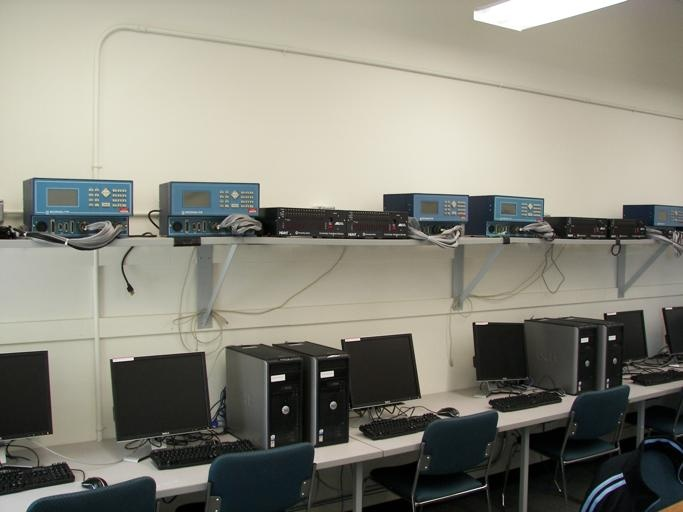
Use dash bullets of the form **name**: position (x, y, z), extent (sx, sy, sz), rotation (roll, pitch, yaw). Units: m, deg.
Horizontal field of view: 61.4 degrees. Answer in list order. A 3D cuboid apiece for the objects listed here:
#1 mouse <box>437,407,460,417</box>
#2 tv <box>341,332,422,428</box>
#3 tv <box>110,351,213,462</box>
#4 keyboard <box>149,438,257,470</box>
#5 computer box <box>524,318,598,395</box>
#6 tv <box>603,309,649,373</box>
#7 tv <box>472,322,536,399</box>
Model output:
- **mouse**: position (0.663, 0.971, 3.587), extent (0.087, 0.030, 0.057), rotation (0, 5, 3)
- **tv**: position (0.232, 0.772, 3.514), extent (0.475, 0.485, 0.166), rotation (1, -23, -30)
- **tv**: position (-0.970, 0.812, 3.055), extent (0.463, 0.463, 0.192), rotation (0, -16, -26)
- **keyboard**: position (-0.708, 1.007, 2.973), extent (0.515, 0.058, 0.250), rotation (-2, 0, -28)
- **computer box**: position (1.575, 0.719, 4.165), extent (0.292, 0.468, 0.475), rotation (2, 0, -35)
- **tv**: position (2.178, 0.666, 4.425), extent (0.019, 0.507, 0.354), rotation (-3, 9, 45)
- **tv**: position (1.130, 0.738, 4.033), extent (0.432, 0.497, 0.196), rotation (3, -13, -29)
